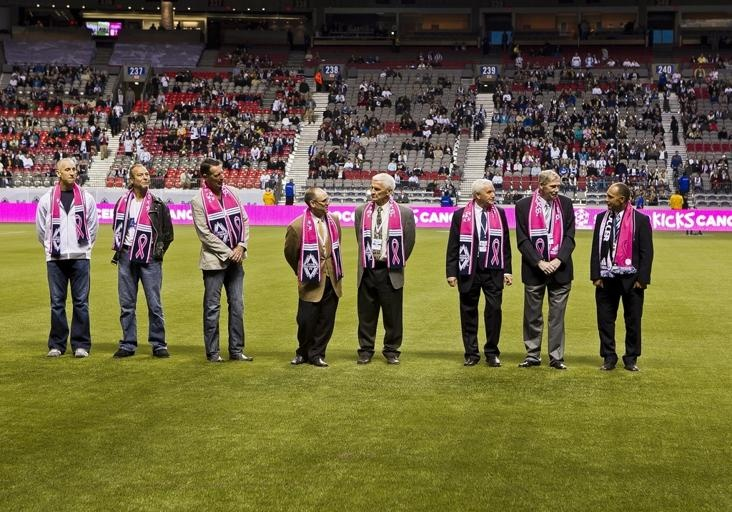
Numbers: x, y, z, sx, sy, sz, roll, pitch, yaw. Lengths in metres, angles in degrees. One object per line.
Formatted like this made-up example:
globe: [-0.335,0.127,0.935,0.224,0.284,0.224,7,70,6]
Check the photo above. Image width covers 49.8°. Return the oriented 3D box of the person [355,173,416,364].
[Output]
person: [0.232,0.305,9.792,0.722,2.028,0.382,0,8,-1]

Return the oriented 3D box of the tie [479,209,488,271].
tie: [1.450,-0.159,9.620,0.094,0.587,0.159,2,8,9]

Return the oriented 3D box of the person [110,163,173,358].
person: [-2.851,0.052,10.089,0.756,2.433,0.785,-2,8,-15]

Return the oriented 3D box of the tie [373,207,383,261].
tie: [0.157,-0.280,9.695,0.116,0.633,0.197,1,8,2]

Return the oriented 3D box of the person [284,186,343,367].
person: [-0.638,0.251,9.764,0.686,2.171,0.619,0,8,-5]

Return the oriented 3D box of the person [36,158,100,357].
person: [-3.723,0.015,9.905,0.710,2.466,0.572,-2,8,-21]

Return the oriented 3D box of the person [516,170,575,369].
person: [2.175,0.159,9.617,0.693,2.396,0.510,2,8,11]

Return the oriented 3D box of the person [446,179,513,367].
person: [1.394,0.201,9.704,0.758,2.254,0.407,2,8,8]

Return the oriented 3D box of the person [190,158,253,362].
person: [-1.777,0.049,9.784,0.692,2.502,0.351,-1,8,-13]

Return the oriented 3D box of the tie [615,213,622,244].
tie: [3.028,-0.359,9.451,0.080,0.322,0.073,-4,9,-31]

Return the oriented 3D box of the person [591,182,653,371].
person: [3.084,0.251,9.524,0.678,2.233,0.476,2,8,15]
